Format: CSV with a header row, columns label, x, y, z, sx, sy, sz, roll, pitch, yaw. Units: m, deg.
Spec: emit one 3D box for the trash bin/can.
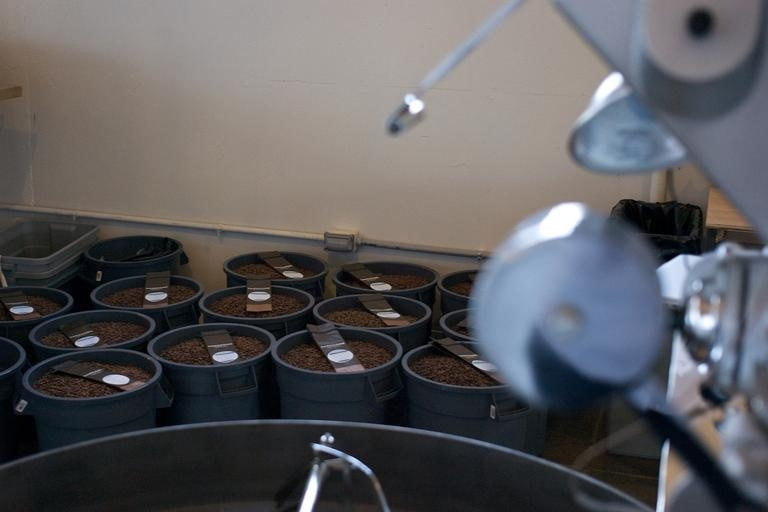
label,x,y,z,sx,sy,sz,roll,pitch,yaw
trash bin/can,0.995,-0.107,1.986,0.271,0.216,0.213,2,38,12
